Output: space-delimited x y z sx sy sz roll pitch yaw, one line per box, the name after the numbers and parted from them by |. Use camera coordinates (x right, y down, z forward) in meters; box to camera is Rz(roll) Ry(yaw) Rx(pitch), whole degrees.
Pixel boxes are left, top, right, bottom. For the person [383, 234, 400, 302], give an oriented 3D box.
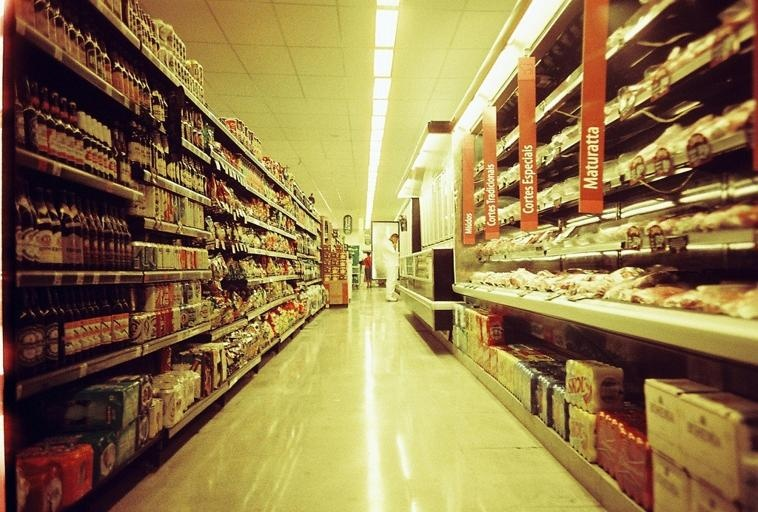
0.271 0.149 11.816 0.407 1.275 0.471 2 11 8 | person

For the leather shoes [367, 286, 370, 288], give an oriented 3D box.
-0.414 1.148 19.764 0.071 0.066 0.126 -6 -6 3 | leather shoes
